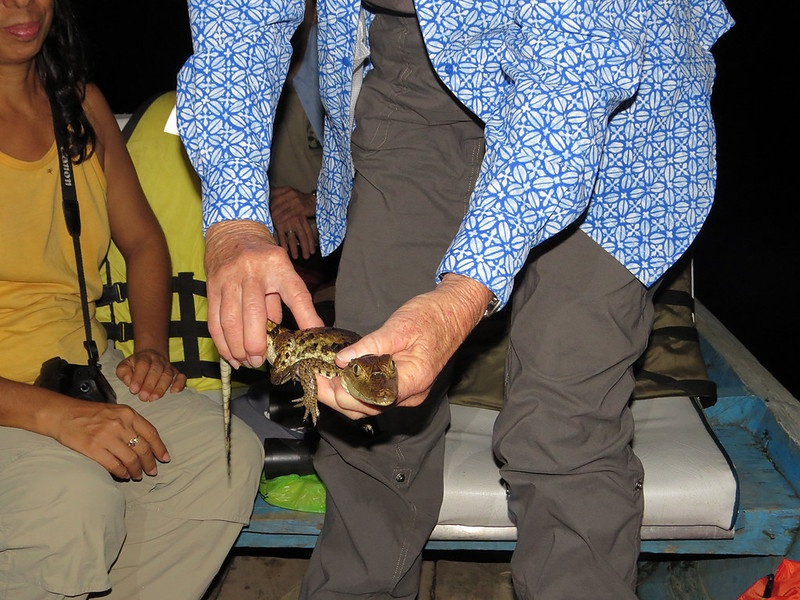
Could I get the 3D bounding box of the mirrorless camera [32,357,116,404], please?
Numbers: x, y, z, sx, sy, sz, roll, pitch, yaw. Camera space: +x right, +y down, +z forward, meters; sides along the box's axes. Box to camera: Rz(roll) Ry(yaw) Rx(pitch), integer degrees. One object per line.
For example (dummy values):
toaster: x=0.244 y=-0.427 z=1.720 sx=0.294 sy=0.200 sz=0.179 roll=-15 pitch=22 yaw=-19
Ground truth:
mirrorless camera: x=-1.196 y=0.263 z=3.153 sx=0.282 sy=0.168 sz=0.397 roll=-2 pitch=16 yaw=-36
